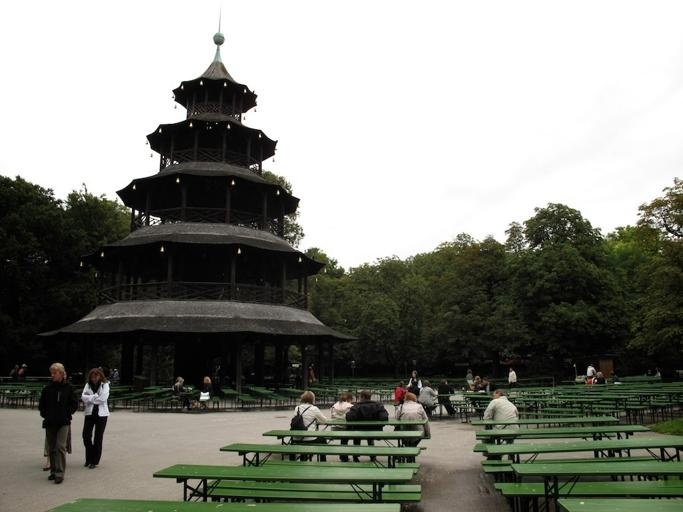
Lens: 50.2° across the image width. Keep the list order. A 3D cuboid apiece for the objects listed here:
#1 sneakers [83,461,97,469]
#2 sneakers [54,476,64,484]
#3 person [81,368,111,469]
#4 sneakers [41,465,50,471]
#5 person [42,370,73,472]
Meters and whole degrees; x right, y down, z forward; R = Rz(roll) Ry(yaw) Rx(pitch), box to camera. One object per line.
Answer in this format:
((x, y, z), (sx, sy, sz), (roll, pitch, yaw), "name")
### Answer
((-6.773, 5.664, 19.691), (0.360, 0.140, 0.132), (1, -4, 36), "sneakers")
((-7.083, 5.656, 18.346), (0.165, 0.147, 0.183), (-2, -8, 3), "sneakers")
((-6.751, 4.444, 19.986), (0.679, 2.685, 0.710), (5, -16, -20), "person")
((-7.840, 5.656, 19.388), (0.115, 0.128, 0.332), (9, -11, -38), "sneakers")
((-7.338, 4.317, 18.890), (0.910, 2.989, 0.477), (2, -15, -11), "person")
